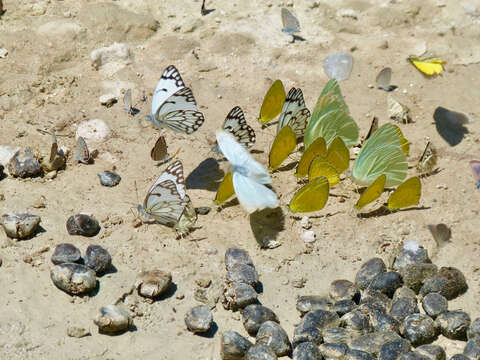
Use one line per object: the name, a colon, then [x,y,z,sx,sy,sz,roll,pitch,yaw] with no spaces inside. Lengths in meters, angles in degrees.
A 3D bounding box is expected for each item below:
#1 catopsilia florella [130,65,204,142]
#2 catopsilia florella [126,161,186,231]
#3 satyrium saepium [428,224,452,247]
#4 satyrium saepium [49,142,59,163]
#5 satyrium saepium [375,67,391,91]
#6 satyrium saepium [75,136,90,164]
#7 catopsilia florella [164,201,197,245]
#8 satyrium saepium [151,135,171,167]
catopsilia florella: [-1.164,-1.360,12.450,0.744,1.462,1.288,0,107,3]
catopsilia florella: [-1.378,0.376,11.288,0.930,0.909,0.894,-24,58,24]
satyrium saepium: [3.134,0.872,11.344,0.308,0.370,0.349,-9,71,3]
satyrium saepium: [-3.094,-0.475,11.805,0.124,0.114,0.384,7,111,4]
satyrium saepium: [2.670,-1.876,13.322,0.237,0.408,0.387,20,78,-8]
satyrium saepium: [-2.678,-0.491,12.053,0.201,0.383,0.273,23,66,20]
catopsilia florella: [-0.912,0.665,11.382,0.482,0.498,0.383,-32,86,4]
satyrium saepium: [-1.354,-0.485,12.039,0.328,0.569,0.369,-13,106,9]
